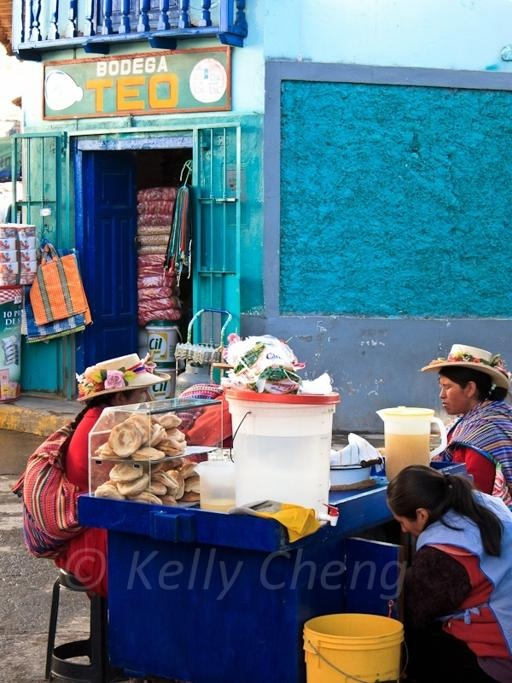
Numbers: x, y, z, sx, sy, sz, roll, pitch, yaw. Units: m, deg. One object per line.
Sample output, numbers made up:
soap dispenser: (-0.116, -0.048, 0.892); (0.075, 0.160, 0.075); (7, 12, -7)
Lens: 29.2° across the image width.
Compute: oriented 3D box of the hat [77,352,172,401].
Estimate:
hat: (-0.565, 0.141, 4.194); (0.302, 0.209, 0.259); (0, 9, 23)

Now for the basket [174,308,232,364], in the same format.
basket: (-0.506, -0.083, 9.685); (0.544, 0.485, 1.086); (1, 5, -3)

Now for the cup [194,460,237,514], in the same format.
cup: (-0.131, 0.485, 3.334); (0.118, 0.159, 0.169); (1, 14, 25)

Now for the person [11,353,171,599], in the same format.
person: (-0.731, 0.504, 4.157); (0.512, 0.999, 0.490); (11, 15, 29)

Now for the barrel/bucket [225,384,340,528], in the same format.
barrel/bucket: (0.081, 0.360, 3.202); (0.368, 0.420, 0.195); (1, 5, -3)

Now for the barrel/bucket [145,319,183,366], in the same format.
barrel/bucket: (-1.062, 0.006, 11.191); (0.438, 0.692, 0.457); (-1, 3, 0)

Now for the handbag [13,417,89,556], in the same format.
handbag: (-0.778, 0.589, 4.086); (0.322, 0.543, 0.311); (7, 14, 34)

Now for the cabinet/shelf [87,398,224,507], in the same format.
cabinet/shelf: (-0.369, 0.361, 3.575); (0.348, 0.358, 0.381); (5, 11, 29)

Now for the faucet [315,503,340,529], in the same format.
faucet: (0.248, 0.570, 3.224); (0.091, 0.090, 0.052); (-5, -3, 27)

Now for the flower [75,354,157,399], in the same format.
flower: (-0.579, 0.122, 4.177); (0.259, 0.216, 0.289); (0, 8, 17)
